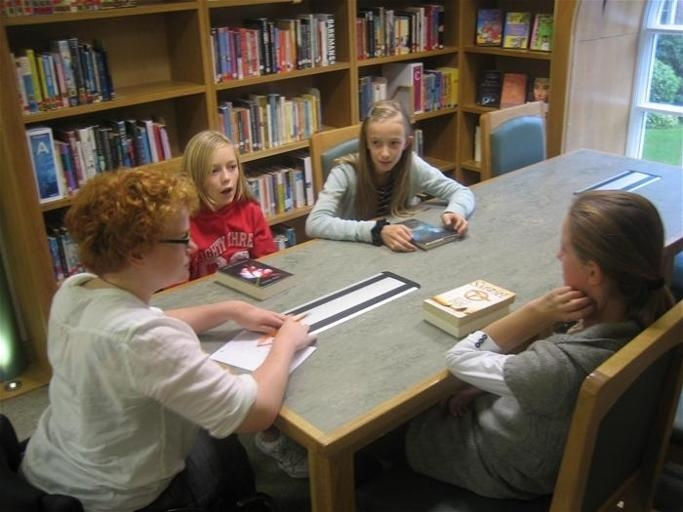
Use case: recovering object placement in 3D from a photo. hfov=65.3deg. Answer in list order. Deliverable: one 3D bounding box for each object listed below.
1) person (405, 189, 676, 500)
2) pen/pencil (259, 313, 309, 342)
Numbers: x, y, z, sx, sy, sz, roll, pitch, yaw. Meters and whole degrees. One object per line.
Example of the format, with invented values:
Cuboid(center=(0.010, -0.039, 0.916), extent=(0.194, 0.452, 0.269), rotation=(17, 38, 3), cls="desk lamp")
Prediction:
Cuboid(center=(0.579, 0.237, 1.519), extent=(0.688, 0.761, 0.601), rotation=(6, 11, 36), cls="person")
Cuboid(center=(-0.173, 0.212, 1.551), extent=(0.117, 0.016, 0.030), rotation=(-29, 59, -20), cls="pen/pencil")
